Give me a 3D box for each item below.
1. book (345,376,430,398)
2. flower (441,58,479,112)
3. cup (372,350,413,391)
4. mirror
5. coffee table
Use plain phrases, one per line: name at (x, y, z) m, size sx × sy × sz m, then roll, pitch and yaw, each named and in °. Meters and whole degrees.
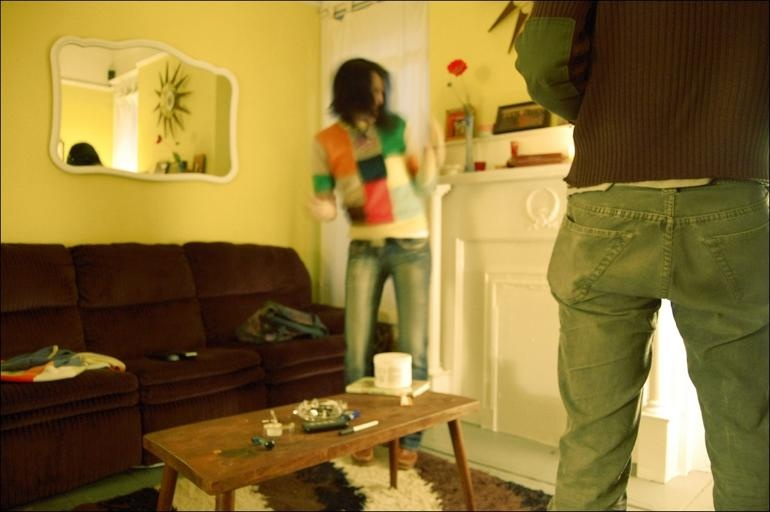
book at (0.012, 0.504, 2.264) m, size 0.218 × 0.022 × 0.170 m, roll -2°, pitch -3°, yaw 28°
flower at (0.402, -0.922, 3.191) m, size 0.173 × 0.279 × 0.136 m, roll 3°, pitch 8°, yaw 13°
cup at (0.035, 0.439, 2.297) m, size 0.139 × 0.095 × 0.140 m, roll -1°, pitch 2°, yaw 0°
mirror at (-1.216, -0.757, 3.082) m, size 0.967 × 0.698 × 0.026 m, roll -3°, pitch 10°, yaw -42°
coffee table at (-0.224, 0.727, 2.052) m, size 1.040 × 0.399 × 0.427 m, roll -3°, pitch 7°, yaw -35°
